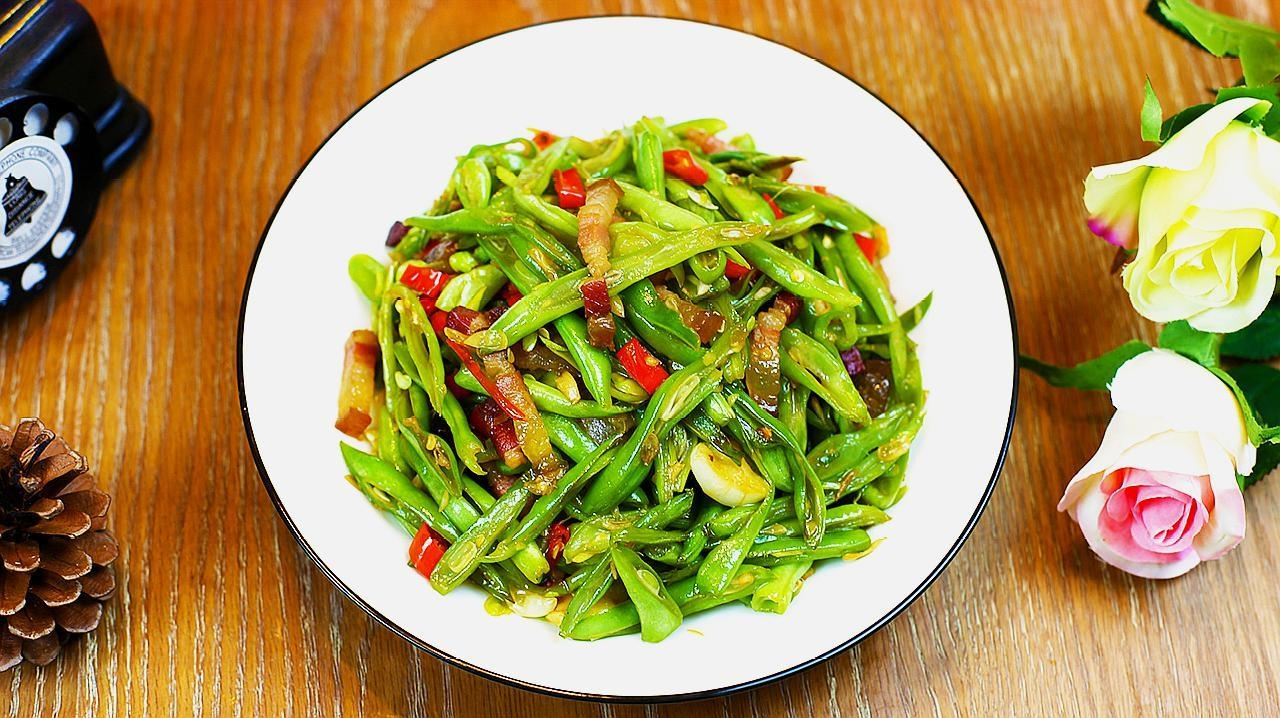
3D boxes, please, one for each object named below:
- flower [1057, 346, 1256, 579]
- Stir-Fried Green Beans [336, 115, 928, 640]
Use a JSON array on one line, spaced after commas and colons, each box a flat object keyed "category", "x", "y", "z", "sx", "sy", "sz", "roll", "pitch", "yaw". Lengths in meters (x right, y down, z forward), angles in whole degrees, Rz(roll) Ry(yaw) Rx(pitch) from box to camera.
[{"category": "flower", "x": 1.345, "y": 0.266, "z": 3.089, "sx": 0.342, "sy": 0.347, "sz": 0.716, "roll": -1, "pitch": 91, "yaw": -13}, {"category": "Stir-Fried Green Beans", "x": -0.023, "y": 0.032, "z": 3.135, "sx": 1.573, "sy": 0.325, "sz": 1.397, "roll": -1, "pitch": 82, "yaw": 0}]
